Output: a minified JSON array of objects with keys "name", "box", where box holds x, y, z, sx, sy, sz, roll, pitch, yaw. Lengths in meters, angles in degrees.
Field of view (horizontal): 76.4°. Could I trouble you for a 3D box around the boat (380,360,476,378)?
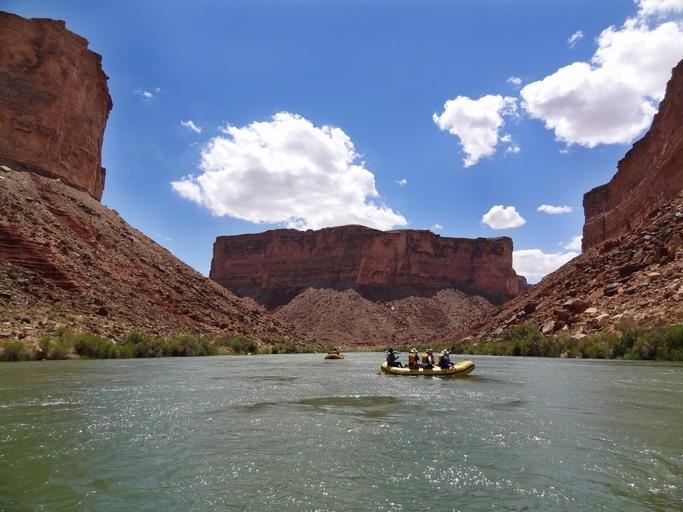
[{"name":"boat","box":[4.237,5.508,20.727,3.548,0.600,1.550,-1,-10,8]}]
